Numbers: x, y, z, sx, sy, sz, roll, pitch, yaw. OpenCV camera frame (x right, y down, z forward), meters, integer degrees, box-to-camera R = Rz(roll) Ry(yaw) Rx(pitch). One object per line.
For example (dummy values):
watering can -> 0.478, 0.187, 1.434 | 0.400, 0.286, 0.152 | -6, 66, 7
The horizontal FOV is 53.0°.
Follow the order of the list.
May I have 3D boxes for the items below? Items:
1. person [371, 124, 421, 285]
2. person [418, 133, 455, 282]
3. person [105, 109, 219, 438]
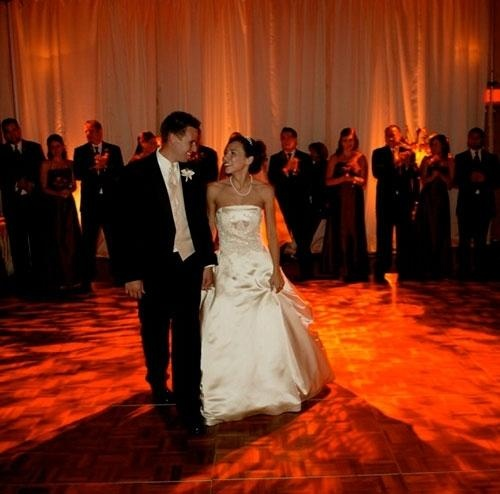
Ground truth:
person -> 1.780, -0.549, 6.204 | 0.546, 1.835, 0.428 | 1, 5, 14
person -> 2.287, -0.512, 6.216 | 0.391, 1.712, 0.325 | 1, 6, 19
person -> -0.390, 0.109, 2.475 | 0.426, 1.490, 0.314 | 0, 5, 10
